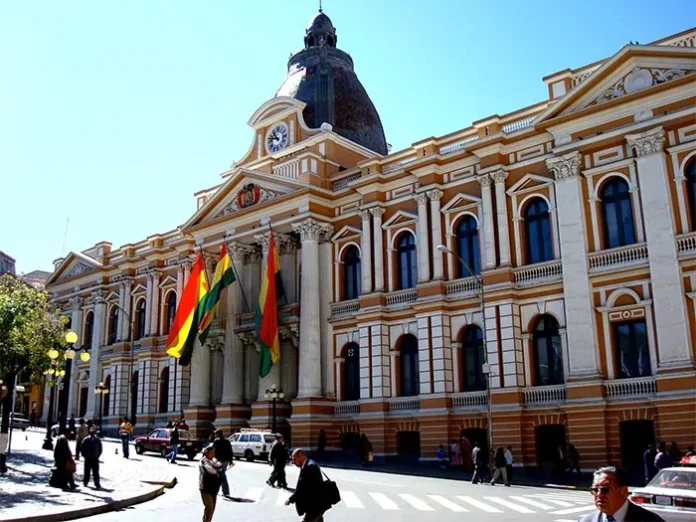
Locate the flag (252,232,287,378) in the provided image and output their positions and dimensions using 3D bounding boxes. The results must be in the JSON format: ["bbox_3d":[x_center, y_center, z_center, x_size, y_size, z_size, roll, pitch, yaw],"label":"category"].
[{"bbox_3d":[-5.357,2.620,42.811,1.512,10.108,2.301,-1,-18,-1],"label":"flag"}]
